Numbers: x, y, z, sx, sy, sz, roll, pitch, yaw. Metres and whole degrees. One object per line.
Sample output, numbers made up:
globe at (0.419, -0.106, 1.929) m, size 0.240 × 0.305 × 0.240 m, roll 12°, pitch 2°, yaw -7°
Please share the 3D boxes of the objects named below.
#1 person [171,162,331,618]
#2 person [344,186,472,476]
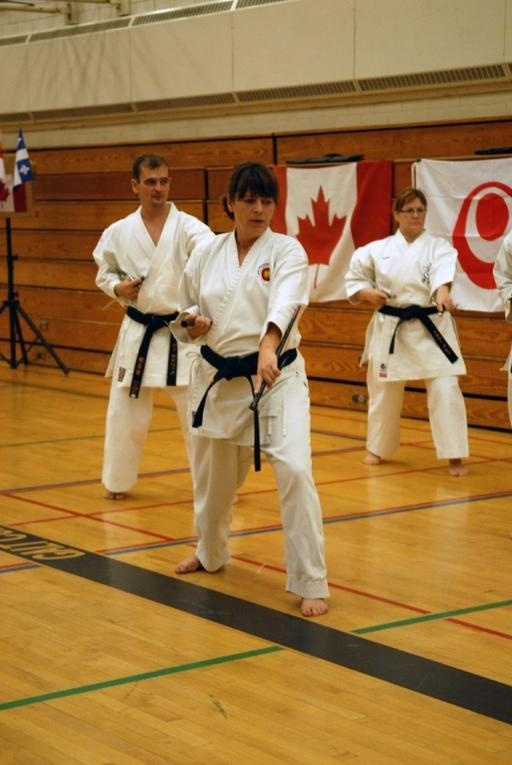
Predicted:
person at (-0.024, 0.035, 2.227) m, size 0.384 × 1.486 × 0.649 m, roll -7°, pitch 12°, yaw -39°
person at (1.019, -0.341, 4.438) m, size 0.859 × 1.839 × 0.542 m, roll 8°, pitch 12°, yaw 39°
